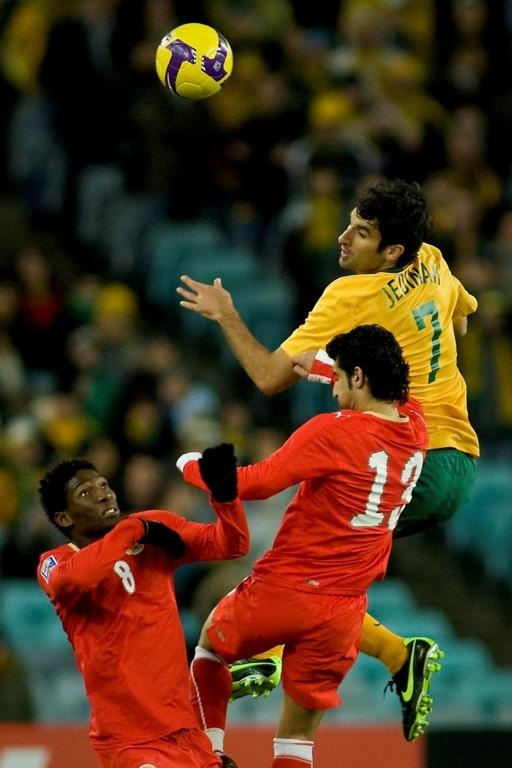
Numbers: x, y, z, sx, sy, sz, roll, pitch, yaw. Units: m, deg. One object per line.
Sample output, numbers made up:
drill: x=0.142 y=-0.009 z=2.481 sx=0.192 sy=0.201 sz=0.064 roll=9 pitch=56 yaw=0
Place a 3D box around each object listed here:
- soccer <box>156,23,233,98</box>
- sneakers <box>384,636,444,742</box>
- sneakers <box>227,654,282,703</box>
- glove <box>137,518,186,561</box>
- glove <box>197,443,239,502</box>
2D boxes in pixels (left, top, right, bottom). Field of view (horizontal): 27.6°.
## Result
soccer: x=-0.330 y=-1.630 z=5.313 sx=0.354 sy=0.313 sz=0.417 roll=7 pitch=39 yaw=10
sneakers: x=0.652 y=1.308 z=4.358 sx=0.289 sy=0.477 sz=0.170 roll=-1 pitch=17 yaw=-2
sneakers: x=0.010 y=1.213 z=4.338 sx=0.292 sy=0.140 sz=0.138 roll=-19 pitch=39 yaw=17
glove: x=-0.339 y=0.554 z=3.657 sx=0.127 sy=0.281 sz=0.098 roll=0 pitch=76 yaw=-4
glove: x=-0.118 y=0.281 z=3.323 sx=0.128 sy=0.174 sz=0.057 roll=-9 pitch=13 yaw=-7
